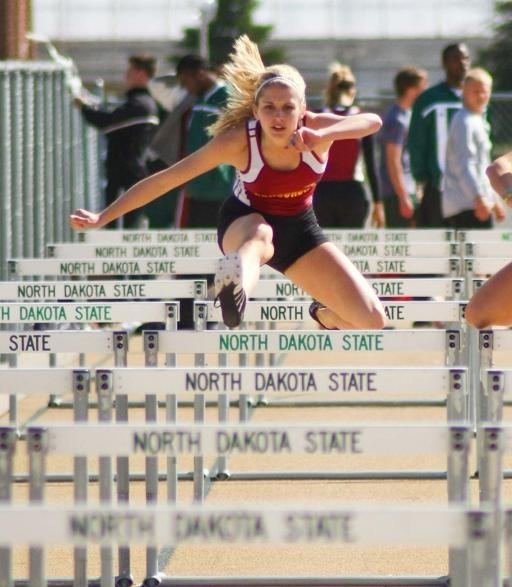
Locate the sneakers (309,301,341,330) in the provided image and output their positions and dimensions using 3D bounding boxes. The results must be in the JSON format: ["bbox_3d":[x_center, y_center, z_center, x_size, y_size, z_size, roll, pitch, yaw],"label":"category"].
[{"bbox_3d":[0.381,0.112,9.384,0.073,0.136,0.099,-38,28,4],"label":"sneakers"}]

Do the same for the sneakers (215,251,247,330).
[{"bbox_3d":[-0.115,-0.024,8.762,0.128,0.387,0.174,3,5,28],"label":"sneakers"}]
